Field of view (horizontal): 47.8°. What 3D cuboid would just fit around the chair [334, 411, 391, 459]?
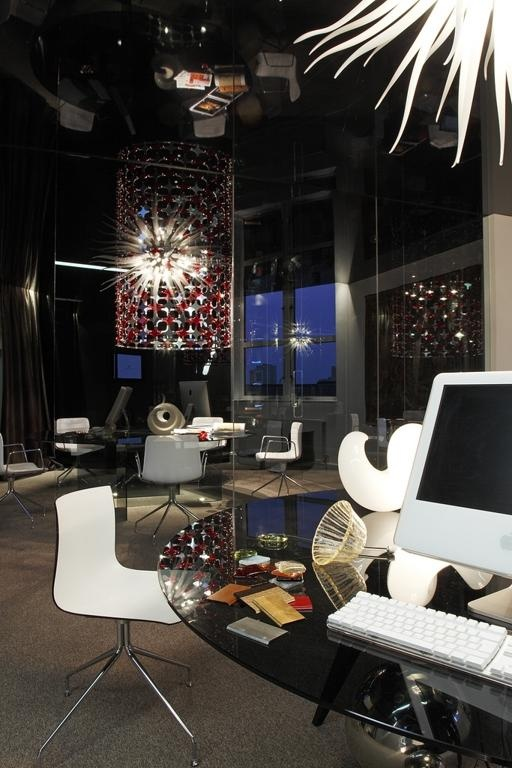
[{"bbox_3d":[0.921,0.431,4.721,0.258,0.369,0.325,0,0,-18],"label":"chair"}]

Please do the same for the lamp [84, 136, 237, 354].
[{"bbox_3d":[-0.796,-1.207,5.865,1.012,1.896,1.121,-2,-3,-37],"label":"lamp"}]

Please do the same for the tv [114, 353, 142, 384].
[{"bbox_3d":[-1.218,-0.165,5.507,0.290,0.271,0.073,0,0,24],"label":"tv"}]

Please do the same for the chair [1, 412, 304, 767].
[{"bbox_3d":[-0.335,0.738,2.118,0.683,1.059,0.707,1,-1,8],"label":"chair"}]
